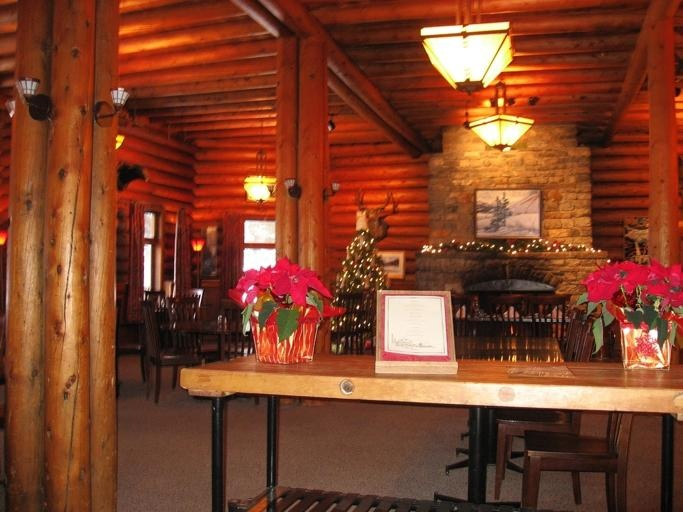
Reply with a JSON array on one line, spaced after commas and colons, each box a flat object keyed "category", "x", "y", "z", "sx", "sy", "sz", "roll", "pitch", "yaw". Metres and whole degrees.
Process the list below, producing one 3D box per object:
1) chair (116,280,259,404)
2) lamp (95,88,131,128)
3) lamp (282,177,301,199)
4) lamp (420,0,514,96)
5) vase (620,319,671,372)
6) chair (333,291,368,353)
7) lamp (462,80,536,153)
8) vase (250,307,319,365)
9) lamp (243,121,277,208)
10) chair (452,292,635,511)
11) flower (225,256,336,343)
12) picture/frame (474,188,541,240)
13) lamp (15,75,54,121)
[{"category": "chair", "x": -1.849, "y": 0.960, "z": 7.167, "sx": 1.064, "sy": 1.400, "sz": 1.534, "roll": 0, "pitch": -4, "yaw": -5}, {"category": "lamp", "x": -1.569, "y": -1.005, "z": 4.436, "sx": 0.141, "sy": 0.296, "sz": 0.292, "roll": -2, "pitch": -7, "yaw": 13}, {"category": "lamp", "x": -0.537, "y": -0.750, "z": 7.205, "sx": 0.250, "sy": 0.230, "sz": 0.146, "roll": -3, "pitch": 4, "yaw": -6}, {"category": "lamp", "x": 1.094, "y": -1.851, "z": 5.577, "sx": 0.747, "sy": 0.743, "sz": 0.525, "roll": -2, "pitch": -7, "yaw": 14}, {"category": "vase", "x": 1.516, "y": 0.439, "z": 3.183, "sx": 0.230, "sy": 0.220, "sz": 0.226, "roll": 1, "pitch": -2, "yaw": 7}, {"category": "chair", "x": 0.099, "y": 0.773, "z": 7.464, "sx": 0.433, "sy": 0.700, "sz": 1.019, "roll": -1, "pitch": -7, "yaw": 7}, {"category": "lamp", "x": 2.021, "y": -1.816, "z": 8.276, "sx": 0.893, "sy": 0.917, "sz": 0.882, "roll": 5, "pitch": 0, "yaw": -14}, {"category": "vase", "x": -0.268, "y": 0.419, "z": 3.359, "sx": 0.391, "sy": 0.255, "sz": 0.382, "roll": 0, "pitch": 0, "yaw": 23}, {"category": "lamp", "x": -1.473, "y": -1.452, "z": 11.772, "sx": 0.684, "sy": 0.926, "sz": 0.684, "roll": 1, "pitch": 6, "yaw": -12}, {"category": "chair", "x": 1.615, "y": 1.060, "z": 4.823, "sx": 1.264, "sy": 2.061, "sz": 1.210, "roll": 3, "pitch": -5, "yaw": 0}, {"category": "flower", "x": -0.270, "y": 0.141, "z": 3.260, "sx": 0.389, "sy": 0.178, "sz": 0.378, "roll": 25, "pitch": 22, "yaw": 39}, {"category": "picture/frame", "x": 3.018, "y": -0.752, "z": 11.421, "sx": 0.960, "sy": 0.705, "sz": 0.063, "roll": 1, "pitch": 0, "yaw": 13}, {"category": "lamp", "x": -2.040, "y": -1.029, "z": 4.172, "sx": 0.133, "sy": 0.206, "sz": 0.190, "roll": -3, "pitch": 15, "yaw": -32}]
